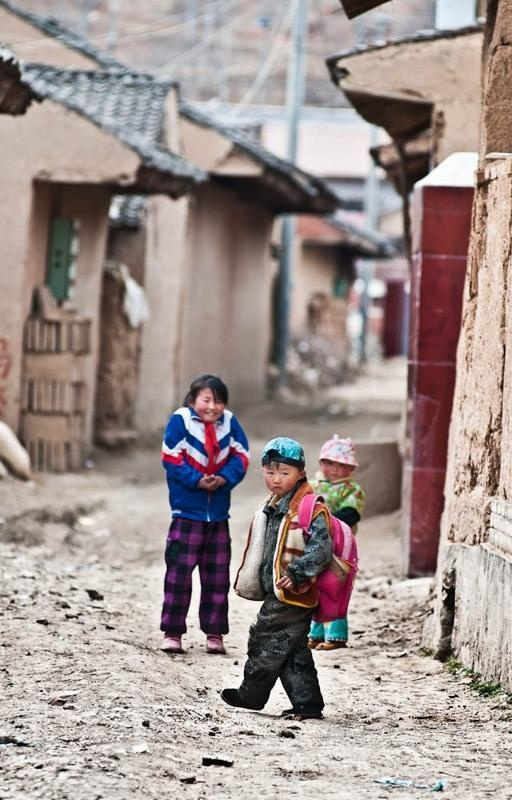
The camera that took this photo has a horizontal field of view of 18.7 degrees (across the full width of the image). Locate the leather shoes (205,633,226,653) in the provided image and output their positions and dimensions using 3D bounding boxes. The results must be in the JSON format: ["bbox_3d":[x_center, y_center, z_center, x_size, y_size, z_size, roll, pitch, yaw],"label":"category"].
[{"bbox_3d":[-0.172,1.066,6.852,0.057,0.066,0.166,0,-10,-4],"label":"leather shoes"}]

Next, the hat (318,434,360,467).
[{"bbox_3d":[0.364,0.227,7.086,0.131,0.085,0.161,10,-7,-21],"label":"hat"}]

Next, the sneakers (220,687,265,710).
[{"bbox_3d":[-0.044,1.128,5.974,0.144,0.058,0.078,17,16,14],"label":"sneakers"}]

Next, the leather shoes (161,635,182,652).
[{"bbox_3d":[-0.353,1.060,6.745,0.098,0.057,0.131,4,7,-2],"label":"leather shoes"}]

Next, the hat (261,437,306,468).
[{"bbox_3d":[0.110,0.201,5.984,0.152,0.115,0.184,4,7,0],"label":"hat"}]

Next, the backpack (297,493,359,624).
[{"bbox_3d":[0.290,0.616,5.969,0.168,0.518,0.317,9,9,35],"label":"backpack"}]

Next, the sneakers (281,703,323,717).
[{"bbox_3d":[0.171,1.166,5.947,0.129,0.058,0.060,4,-3,5],"label":"sneakers"}]
